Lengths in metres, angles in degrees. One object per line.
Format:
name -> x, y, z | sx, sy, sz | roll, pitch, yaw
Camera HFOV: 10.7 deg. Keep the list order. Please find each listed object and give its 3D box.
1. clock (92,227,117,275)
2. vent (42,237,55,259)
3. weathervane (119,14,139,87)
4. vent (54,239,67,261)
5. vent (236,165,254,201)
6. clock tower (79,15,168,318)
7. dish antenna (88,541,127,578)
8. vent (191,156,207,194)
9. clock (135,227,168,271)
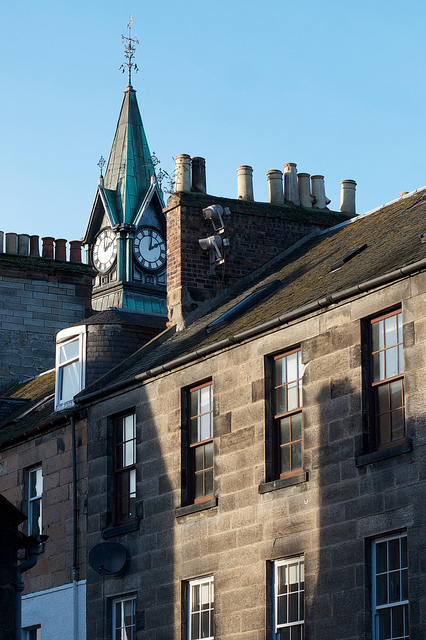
clock -> -3.936, -2.404, 83.226 | 0.107, 1.890, 1.565 | 9, -17, -19
vent -> -4.148, -1.759, 57.427 | 0.285, 0.769, 0.964 | -2, -13, -5
weathervane -> -1.245, -3.952, 33.891 | 0.274, 1.133, 0.264 | 19, 26, 41
vent -> -3.853, -1.744, 57.377 | 0.274, 0.734, 0.968 | -2, -13, -5
vent -> 0.614, -2.549, 43.500 | 0.264, 0.865, 0.665 | -3, -12, 3
clock tower -> -3.269, -4.620, 84.369 | 2.755, 9.774, 4.939 | -1, -12, -11
dish antenna -> -1.694, 3.840, 36.744 | 0.456, 0.590, 0.472 | 3, -10, -43
vent -> -0.282, -2.751, 43.512 | 0.265, 0.841, 0.745 | -4, -12, 3
clock -> -2.301, -2.579, 83.442 | 1.279, 2.002, 0.133 | 10, -41, -12
